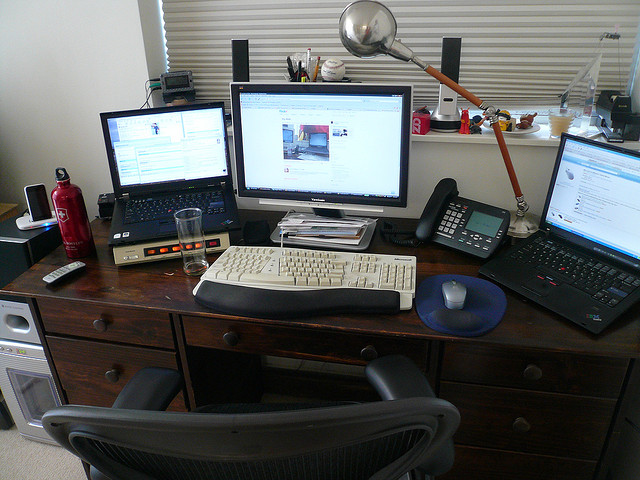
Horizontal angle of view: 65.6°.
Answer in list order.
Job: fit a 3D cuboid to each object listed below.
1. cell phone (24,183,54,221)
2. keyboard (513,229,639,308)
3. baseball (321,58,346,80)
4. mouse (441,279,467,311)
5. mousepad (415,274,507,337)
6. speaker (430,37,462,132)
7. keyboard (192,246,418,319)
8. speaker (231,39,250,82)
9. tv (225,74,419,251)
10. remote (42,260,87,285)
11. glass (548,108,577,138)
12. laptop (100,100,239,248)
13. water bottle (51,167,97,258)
[{"bbox_3d":[-1.105,-0.146,1.942,0.076,0.121,0.097,-15,30,-29],"label":"cell phone"},{"bbox_3d":[0.801,0.079,1.549,0.177,0.082,0.343,-18,31,-33],"label":"keyboard"},{"bbox_3d":[0.047,-0.635,1.896,0.079,0.077,0.079,40,25,-16],"label":"baseball"},{"bbox_3d":[0.408,0.151,1.505,0.080,0.048,0.138,4,27,10],"label":"mouse"},{"bbox_3d":[0.419,0.174,1.503,0.275,0.057,0.370,4,22,15],"label":"mousepad"},{"bbox_3d":[0.482,-0.570,1.834,0.116,0.332,0.069,6,26,11],"label":"speaker"},{"bbox_3d":[-0.048,0.135,1.575,0.682,0.101,0.294,4,26,7],"label":"keyboard"},{"bbox_3d":[-0.304,-0.680,1.884,0.064,0.143,0.245,-4,26,-8],"label":"speaker"},{"bbox_3d":[-0.002,-0.321,1.866,0.731,0.558,0.517,7,27,13],"label":"tv"},{"bbox_3d":[-0.858,0.101,1.667,0.057,0.024,0.127,27,41,33],"label":"remote"},{"bbox_3d":[0.867,-0.428,1.785,0.104,0.112,0.117,13,32,28],"label":"glass"},{"bbox_3d":[-0.530,-0.220,1.986,0.632,0.439,0.523,-6,50,-9],"label":"laptop"},{"bbox_3d":[-0.863,-0.079,1.780,0.122,0.355,0.108,1,23,10],"label":"water bottle"}]
